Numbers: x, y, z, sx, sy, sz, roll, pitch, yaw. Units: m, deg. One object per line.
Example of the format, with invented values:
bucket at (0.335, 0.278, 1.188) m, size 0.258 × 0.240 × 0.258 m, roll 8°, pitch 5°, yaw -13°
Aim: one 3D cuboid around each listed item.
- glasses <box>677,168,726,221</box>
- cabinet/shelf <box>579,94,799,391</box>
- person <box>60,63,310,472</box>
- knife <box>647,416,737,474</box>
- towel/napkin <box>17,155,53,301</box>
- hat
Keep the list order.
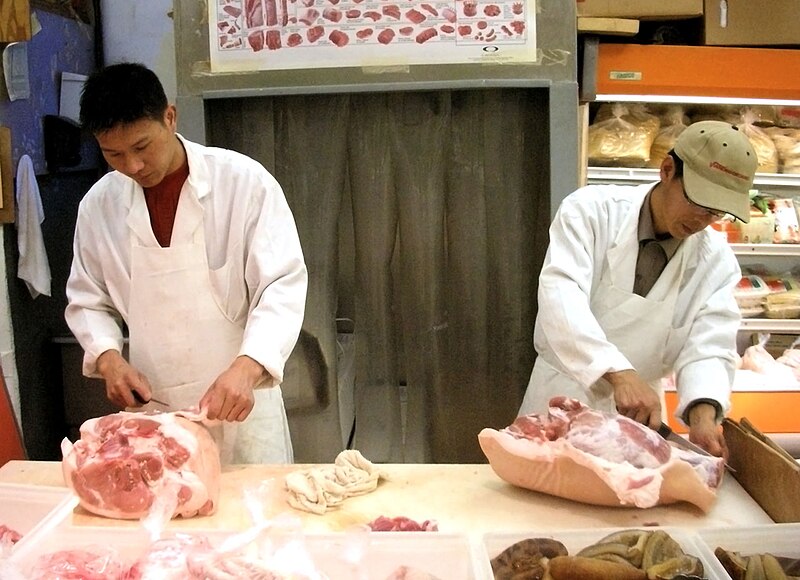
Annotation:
glasses at (1.168, -0.345, 3.127) m, size 0.143 × 0.204 × 0.096 m, roll -24°, pitch -2°, yaw -39°
cabinet/shelf at (1.317, -0.248, 3.727) m, size 1.199 × 1.369 × 0.726 m, roll 1°, pitch 11°, yaw -2°
person at (-0.894, -0.183, 3.251) m, size 0.991 × 1.411 × 0.674 m, roll 7°, pitch 15°, yaw 33°
knife at (1.054, 0.562, 2.884) m, size 0.315 × 0.065 × 0.036 m, roll 37°, pitch 2°, yaw 40°
towel/napkin at (-2.005, -0.319, 4.345) m, size 0.148 × 0.796 × 0.238 m, roll -5°, pitch 13°, yaw -15°
hat at (1.227, -0.454, 3.101) m, size 0.308 × 0.363 × 0.308 m, roll 0°, pitch 13°, yaw 8°
